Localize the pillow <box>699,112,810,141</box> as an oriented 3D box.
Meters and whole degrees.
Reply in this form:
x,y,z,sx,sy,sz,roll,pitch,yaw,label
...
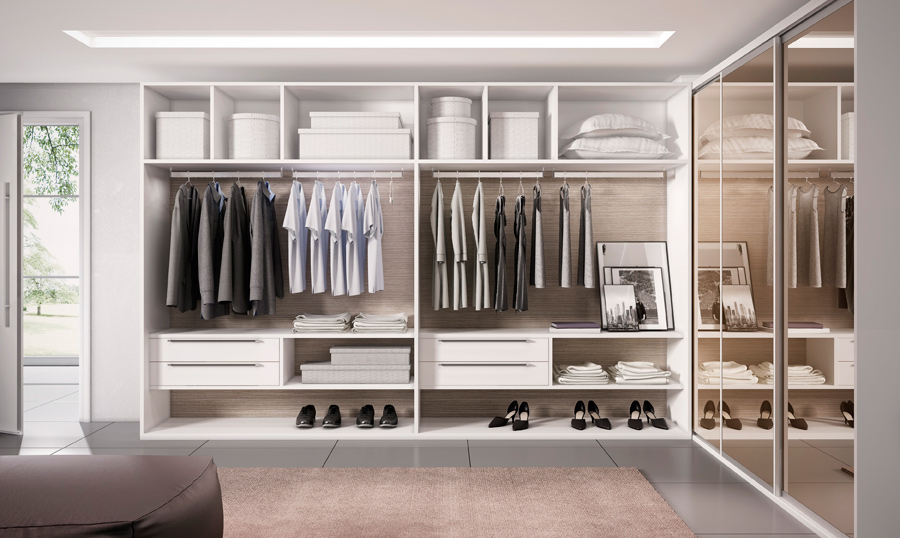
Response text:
x,y,z,sx,sy,sz,roll,pitch,yaw,label
2.574,-1.185,5.831,0.513,0.099,0.482,1,3,23,pillow

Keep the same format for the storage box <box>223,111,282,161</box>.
x,y,z,sx,sy,sz,roll,pitch,yaw,label
-1.851,-1.246,6.619,0.566,0.364,0.456,0,0,2,storage box

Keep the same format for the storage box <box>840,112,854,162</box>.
x,y,z,sx,sy,sz,roll,pitch,yaw,label
2.945,-0.976,5.171,0.050,0.368,0.136,-1,4,-4,storage box

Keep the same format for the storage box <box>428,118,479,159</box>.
x,y,z,sx,sy,sz,roll,pitch,yaw,label
0.012,-1.223,6.698,0.495,0.279,0.433,0,3,-10,storage box

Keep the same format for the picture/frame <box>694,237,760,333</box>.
x,y,z,sx,sy,sz,roll,pitch,yaw,label
2.439,0.142,6.092,0.095,1.004,0.908,3,-8,-28,picture/frame

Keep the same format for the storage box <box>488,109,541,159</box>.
x,y,z,sx,sy,sz,roll,pitch,yaw,label
0.610,-1.268,6.648,0.540,0.360,0.466,0,0,0,storage box

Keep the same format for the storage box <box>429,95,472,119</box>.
x,y,z,sx,sy,sz,roll,pitch,yaw,label
0.032,-1.539,6.712,0.307,0.113,0.279,-1,3,-24,storage box

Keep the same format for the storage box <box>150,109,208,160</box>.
x,y,z,sx,sy,sz,roll,pitch,yaw,label
-2.529,-1.248,6.662,0.552,0.401,0.482,0,-1,-5,storage box

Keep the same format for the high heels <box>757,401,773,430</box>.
x,y,z,sx,sy,sz,roll,pitch,yaw,label
2.577,1.200,5.720,0.083,0.202,0.088,8,-6,-36,high heels

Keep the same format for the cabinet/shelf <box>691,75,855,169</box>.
x,y,z,sx,sy,sz,roll,pitch,yaw,label
2.651,-1.193,5.721,1.038,0.386,0.845,0,5,16,cabinet/shelf

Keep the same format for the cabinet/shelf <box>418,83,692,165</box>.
x,y,z,sx,sy,sz,roll,pitch,yaw,label
0.959,-1.358,6.732,2.514,0.547,0.559,1,7,5,cabinet/shelf

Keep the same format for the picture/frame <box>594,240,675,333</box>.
x,y,z,sx,sy,sz,roll,pitch,yaw,label
1.824,0.162,6.884,0.708,0.847,0.219,-1,4,8,picture/frame
